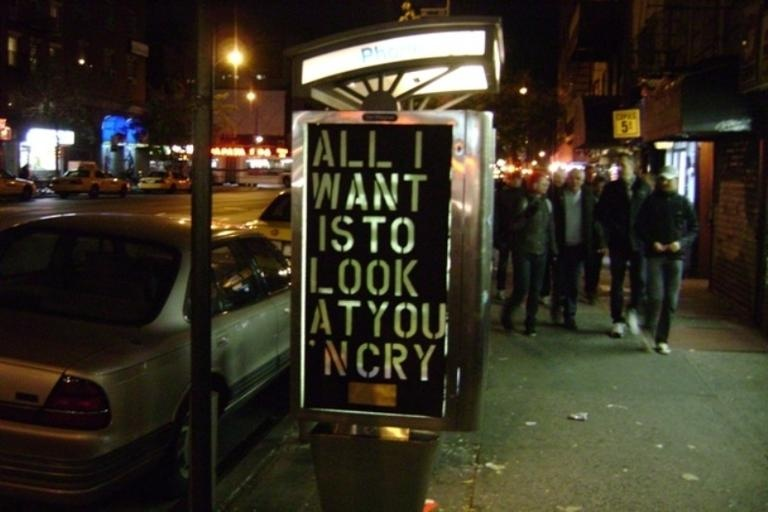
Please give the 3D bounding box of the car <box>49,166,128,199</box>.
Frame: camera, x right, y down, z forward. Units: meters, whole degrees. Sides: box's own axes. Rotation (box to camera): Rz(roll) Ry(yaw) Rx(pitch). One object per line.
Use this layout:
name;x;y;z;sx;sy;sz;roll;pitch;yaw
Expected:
car;-15.971;-3.944;37.566;1.644;1.668;3.867;4;14;24

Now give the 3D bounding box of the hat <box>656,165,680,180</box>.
hat;3.638;-1.055;8.869;0.179;0.165;0.316;7;16;34
